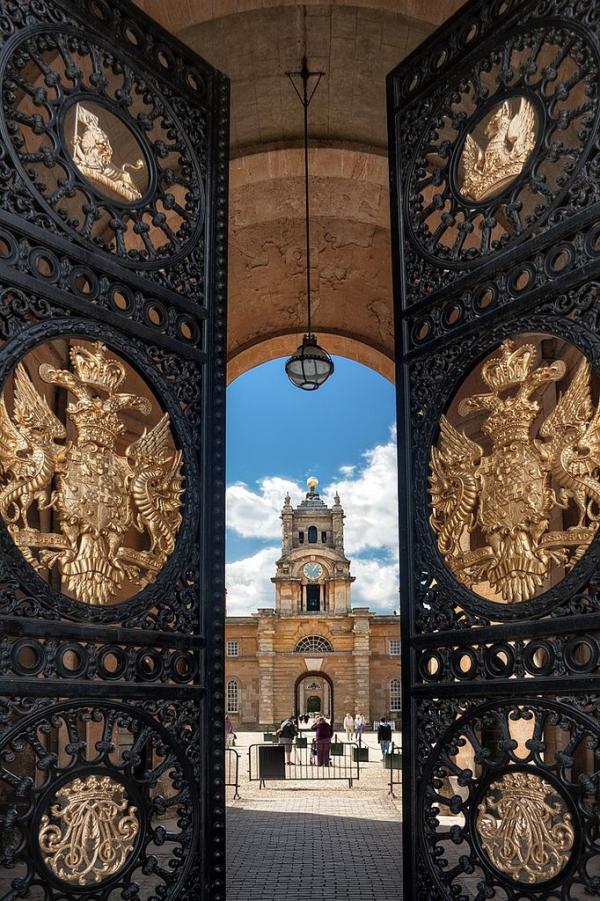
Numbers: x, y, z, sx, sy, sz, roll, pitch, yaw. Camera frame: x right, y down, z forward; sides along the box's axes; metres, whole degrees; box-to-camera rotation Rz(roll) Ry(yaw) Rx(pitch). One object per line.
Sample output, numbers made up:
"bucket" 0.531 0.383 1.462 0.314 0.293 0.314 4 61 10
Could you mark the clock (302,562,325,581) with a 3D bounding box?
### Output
"clock" 0.409 4.132 44.512 0.668 0.748 0.465 1 -23 1
